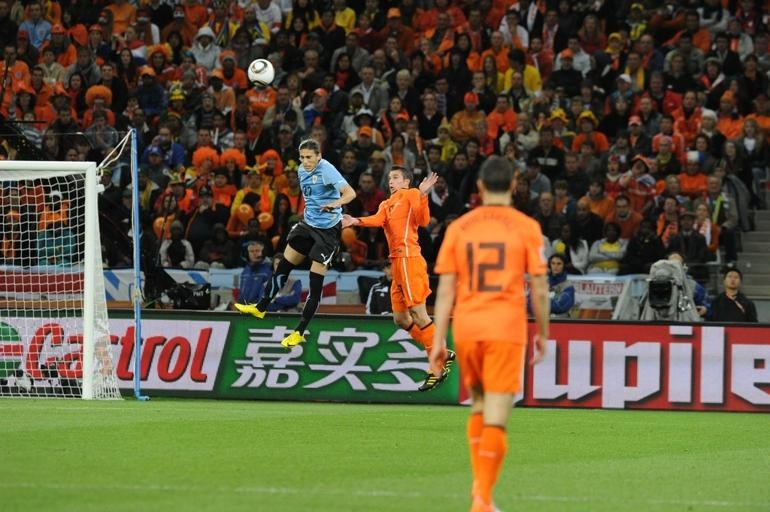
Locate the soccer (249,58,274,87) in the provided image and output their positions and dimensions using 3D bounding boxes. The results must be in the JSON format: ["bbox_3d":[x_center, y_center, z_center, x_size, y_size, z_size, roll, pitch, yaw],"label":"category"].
[{"bbox_3d":[-2.280,-3.395,22.802,0.396,0.512,0.483,3,-7,-12],"label":"soccer"}]
